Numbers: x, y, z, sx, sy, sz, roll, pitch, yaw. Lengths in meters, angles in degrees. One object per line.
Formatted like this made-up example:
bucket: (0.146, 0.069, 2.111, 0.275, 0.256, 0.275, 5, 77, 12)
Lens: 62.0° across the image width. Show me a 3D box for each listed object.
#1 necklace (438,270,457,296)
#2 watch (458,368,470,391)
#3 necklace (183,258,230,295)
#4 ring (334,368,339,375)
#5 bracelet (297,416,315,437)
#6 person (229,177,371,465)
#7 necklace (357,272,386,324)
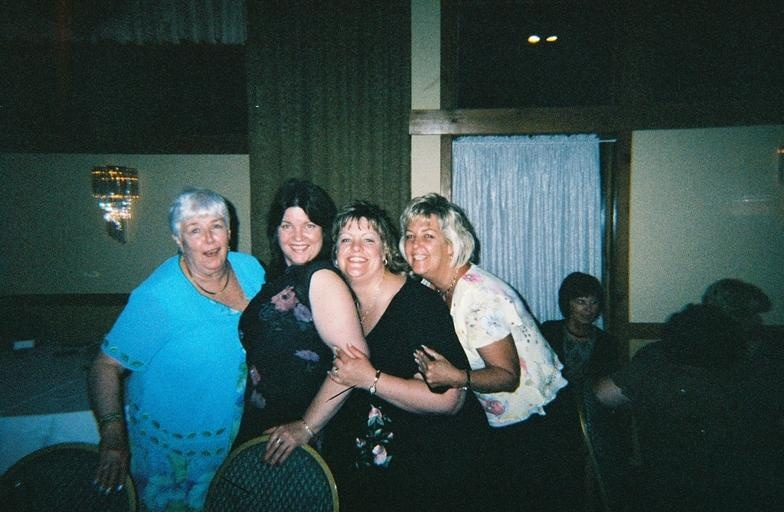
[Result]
necklace: (0.411, 0.204, 4.773, 0.052, 0.170, 0.135, 38, 34, 24)
watch: (0.490, 0.835, 4.405, 0.088, 0.110, 0.047, -8, -12, 31)
necklace: (-1.343, 0.147, 4.660, 0.232, 0.314, 0.167, -23, -6, -39)
ring: (-0.370, 0.764, 4.312, 0.030, 0.036, 0.013, 3, -1, -3)
bracelet: (-0.559, 1.144, 4.391, 0.040, 0.105, 0.107, -37, -13, -26)
person: (-0.683, 0.403, 4.541, 0.867, 1.837, 0.780, -3, 10, -17)
necklace: (-0.154, 0.295, 4.474, 0.198, 0.324, 0.080, -9, -4, 11)
